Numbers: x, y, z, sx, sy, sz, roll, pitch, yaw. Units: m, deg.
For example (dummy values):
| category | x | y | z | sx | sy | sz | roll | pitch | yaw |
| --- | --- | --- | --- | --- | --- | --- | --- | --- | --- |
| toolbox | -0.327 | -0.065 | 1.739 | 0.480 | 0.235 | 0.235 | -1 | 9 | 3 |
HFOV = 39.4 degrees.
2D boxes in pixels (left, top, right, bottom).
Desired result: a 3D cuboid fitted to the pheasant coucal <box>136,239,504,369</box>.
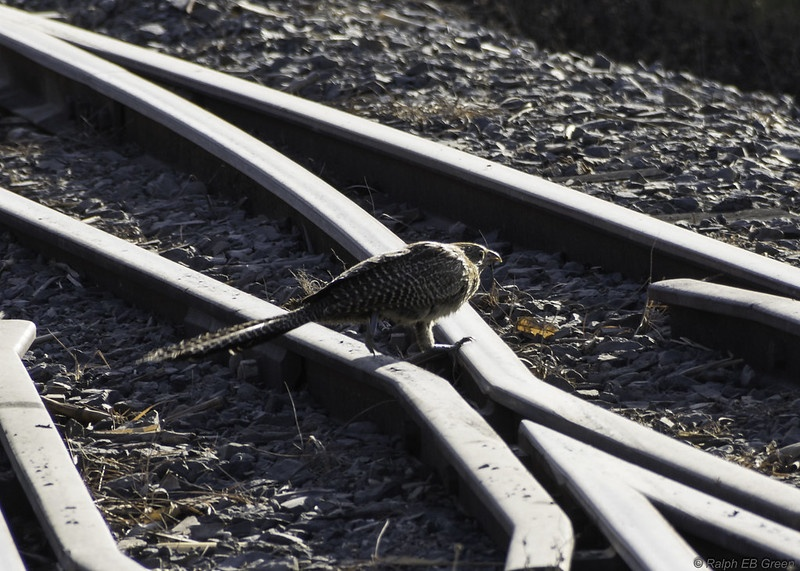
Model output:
| category | x | y | z | sx | sy | sz | roll | pitch | yaw |
| --- | --- | --- | --- | --- | --- | --- | --- | --- | --- |
| pheasant coucal | -0.615 | 0.079 | 6.640 | 2.933 | 0.790 | 0.750 | 2 | 3 | -31 |
